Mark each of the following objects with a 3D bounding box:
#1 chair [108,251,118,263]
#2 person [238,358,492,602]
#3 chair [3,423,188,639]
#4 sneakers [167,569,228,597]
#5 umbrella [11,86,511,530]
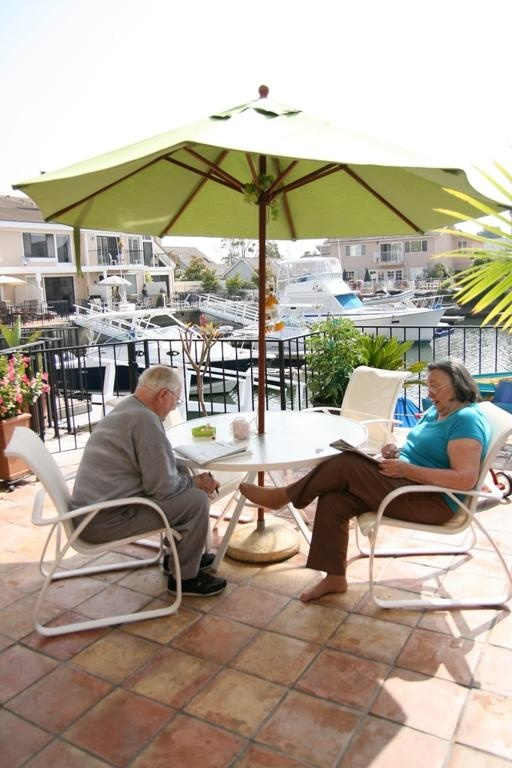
[{"bbox_3d":[-8.468,-7.374,33.055,0.585,0.774,0.667,2,13,9],"label":"chair"},{"bbox_3d":[0.488,0.417,2.651,1.086,1.103,0.525,4,0,7],"label":"person"},{"bbox_3d":[-0.607,0.578,2.742,0.948,1.076,0.801,-4,14,-16],"label":"chair"},{"bbox_3d":[-0.279,0.931,2.640,0.280,0.125,0.108,0,5,-7],"label":"sneakers"},{"bbox_3d":[0.032,-0.589,2.991,2.434,1.667,2.207,-4,10,-27],"label":"umbrella"}]
